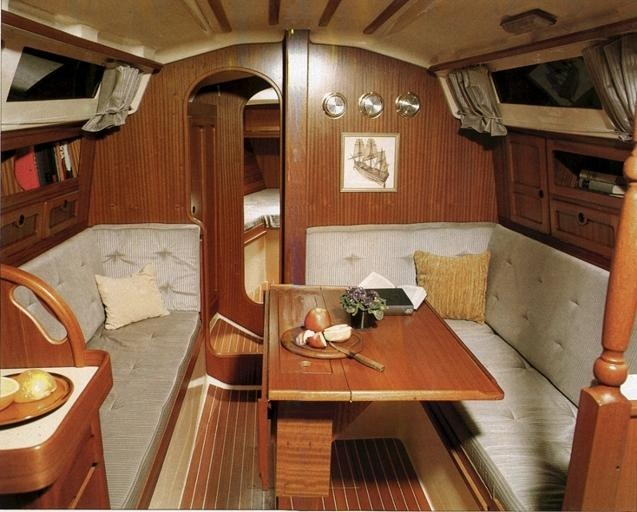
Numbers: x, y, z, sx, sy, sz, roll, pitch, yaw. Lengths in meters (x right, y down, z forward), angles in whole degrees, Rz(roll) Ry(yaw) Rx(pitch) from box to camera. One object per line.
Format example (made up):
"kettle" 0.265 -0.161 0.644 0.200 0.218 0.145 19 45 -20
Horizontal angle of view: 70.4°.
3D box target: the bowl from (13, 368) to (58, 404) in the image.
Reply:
"bowl" -0.928 0.426 1.483 0.094 0.060 0.106 10 16 -24

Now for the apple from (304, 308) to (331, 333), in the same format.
"apple" -0.003 0.312 2.212 0.106 0.110 0.107 4 -6 11

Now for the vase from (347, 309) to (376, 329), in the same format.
"vase" 0.230 0.336 2.431 0.108 0.083 0.107 5 9 35

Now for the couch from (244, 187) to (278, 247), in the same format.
"couch" -0.725 -0.545 5.780 0.470 0.509 2.187 -1 9 -6

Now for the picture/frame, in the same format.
"picture/frame" 0.389 -0.766 3.603 0.469 0.466 0.019 0 17 -3

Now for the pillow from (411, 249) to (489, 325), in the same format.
"pillow" 0.955 0.237 3.244 0.501 0.524 0.196 2 -3 15

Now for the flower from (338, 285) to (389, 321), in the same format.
"flower" 0.257 0.249 2.391 0.179 0.081 0.184 10 20 28

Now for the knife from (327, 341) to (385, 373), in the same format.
"knife" 0.146 0.437 2.096 0.077 0.037 0.457 -9 17 -30
